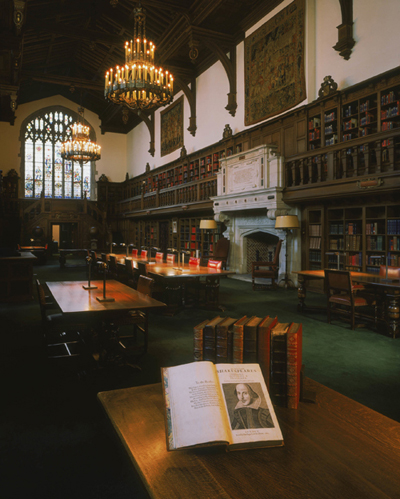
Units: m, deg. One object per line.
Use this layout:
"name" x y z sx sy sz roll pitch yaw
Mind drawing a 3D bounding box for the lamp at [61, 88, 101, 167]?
"lamp" -3.503 -3.312 11.958 1.038 1.780 1.068 1 4 -4

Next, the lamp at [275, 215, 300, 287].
"lamp" 1.836 0.053 8.541 0.429 1.579 1.629 0 2 12
